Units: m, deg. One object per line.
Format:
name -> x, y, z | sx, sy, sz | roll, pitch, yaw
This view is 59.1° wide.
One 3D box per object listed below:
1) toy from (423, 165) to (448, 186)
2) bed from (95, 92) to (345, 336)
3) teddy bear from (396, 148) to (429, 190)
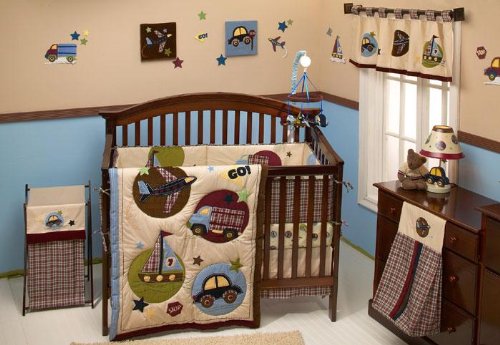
toy -> 1.279, 0.013, 3.078 | 0.201, 0.181, 0.112 | 5, 2, 41
bed -> -0.218, 0.265, 3.562 | 1.830, 1.776, 1.093 | -3, 10, -16
teddy bear -> 1.143, -0.020, 3.101 | 0.195, 0.268, 0.190 | 6, 32, 24
